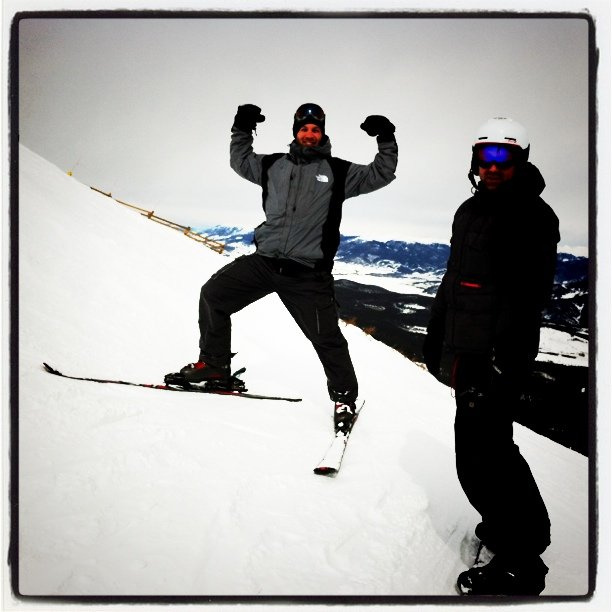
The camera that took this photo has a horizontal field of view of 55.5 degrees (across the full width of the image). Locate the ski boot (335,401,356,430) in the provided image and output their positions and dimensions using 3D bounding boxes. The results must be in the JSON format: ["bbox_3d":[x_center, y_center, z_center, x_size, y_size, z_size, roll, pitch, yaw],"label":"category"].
[{"bbox_3d":[0.314,0.885,4.695,0.141,0.204,0.074,-8,-26,41],"label":"ski boot"}]

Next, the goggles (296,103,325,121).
[{"bbox_3d":[0.035,-1.503,4.532,0.222,0.136,0.170,8,7,-3],"label":"goggles"}]

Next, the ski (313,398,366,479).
[{"bbox_3d":[0.263,0.982,4.518,0.141,0.136,1.260,6,10,10],"label":"ski"}]

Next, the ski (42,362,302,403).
[{"bbox_3d":[-1.189,0.731,5.228,2.319,0.080,0.270,7,7,-6],"label":"ski"}]

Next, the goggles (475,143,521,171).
[{"bbox_3d":[1.126,-0.882,3.466,0.263,0.162,0.132,11,7,25],"label":"goggles"}]
